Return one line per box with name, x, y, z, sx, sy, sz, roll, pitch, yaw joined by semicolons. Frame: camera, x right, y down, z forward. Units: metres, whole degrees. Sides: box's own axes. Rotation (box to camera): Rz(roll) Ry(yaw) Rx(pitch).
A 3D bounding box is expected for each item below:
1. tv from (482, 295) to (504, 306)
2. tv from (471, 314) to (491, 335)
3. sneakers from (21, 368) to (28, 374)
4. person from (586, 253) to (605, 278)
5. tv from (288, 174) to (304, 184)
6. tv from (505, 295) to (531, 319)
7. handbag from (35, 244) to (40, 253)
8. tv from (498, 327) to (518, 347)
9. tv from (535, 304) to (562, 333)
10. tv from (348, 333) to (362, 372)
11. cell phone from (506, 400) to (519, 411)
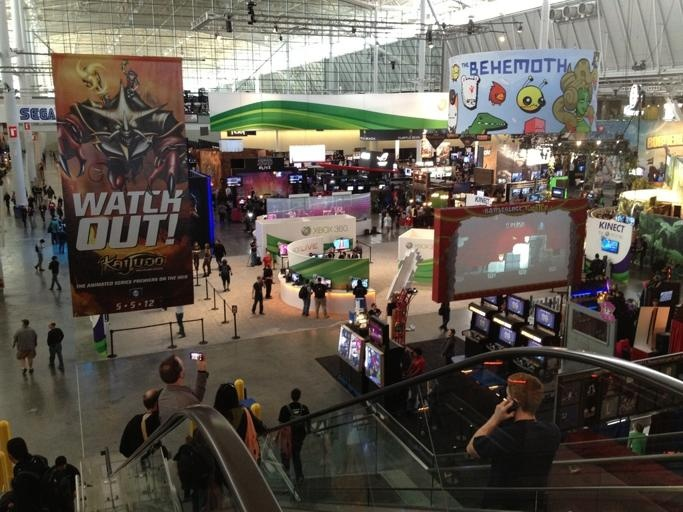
tv;3.866;1.130;13.291;0.207;0.281;0.409;-1;8;-14
tv;3.507;1.694;13.190;0.161;0.461;0.712;-6;17;-25
sneakers;-7.468;2.724;12.387;0.077;0.168;0.225;-2;4;-45
person;8.620;0.356;17.695;0.578;0.891;0.548;3;15;23
tv;-2.503;-4.288;29.146;0.784;0.552;0.407;0;7;-12
tv;4.328;1.234;12.848;0.200;0.489;0.661;-8;18;-31
handbag;-11.969;-0.296;20.665;0.218;0.401;0.294;-5;10;-37
tv;3.995;1.929;12.442;0.101;0.547;0.750;-2;3;-21
tv;4.792;1.455;12.255;0.233;0.498;0.695;-10;18;-35
tv;0.331;2.207;11.781;0.114;0.838;0.846;4;0;-13
cell phone;1.231;1.077;3.757;0.079;0.074;0.093;-21;-39;14
